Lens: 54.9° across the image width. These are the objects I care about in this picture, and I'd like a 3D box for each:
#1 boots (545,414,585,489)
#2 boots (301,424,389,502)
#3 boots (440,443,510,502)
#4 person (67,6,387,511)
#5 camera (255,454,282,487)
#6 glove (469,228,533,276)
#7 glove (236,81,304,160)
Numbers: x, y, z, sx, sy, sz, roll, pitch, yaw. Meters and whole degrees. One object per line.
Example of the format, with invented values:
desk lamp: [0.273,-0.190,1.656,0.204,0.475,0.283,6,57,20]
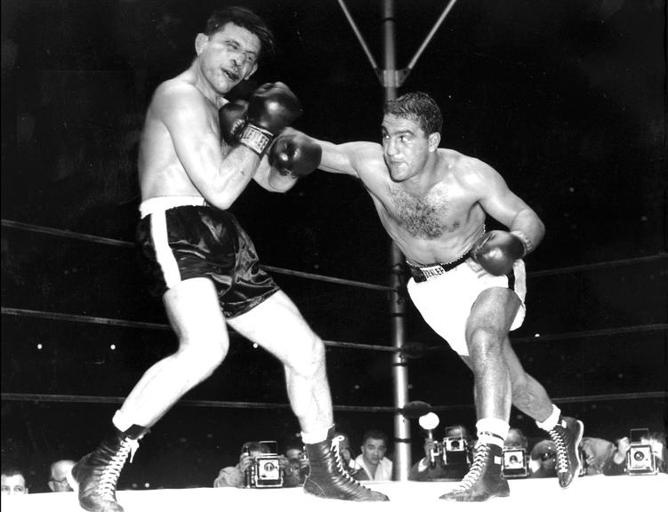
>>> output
boots: [1.092,0.904,3.036,0.124,0.164,0.373,-36,8,31]
boots: [0.037,0.871,2.660,0.382,0.276,0.133,0,3,22]
boots: [0.557,0.864,2.561,0.329,0.226,0.123,2,-10,-24]
person: [-0.470,-0.015,2.542,1.101,2.054,0.383,-2,-1,-25]
camera: [-0.324,1.079,3.289,0.182,0.173,0.143,1,-9,-10]
glove: [0.711,-0.015,2.755,0.227,0.173,0.108,-32,-20,-33]
glove: [-0.273,-0.558,2.633,0.238,0.308,0.144,36,-7,2]
